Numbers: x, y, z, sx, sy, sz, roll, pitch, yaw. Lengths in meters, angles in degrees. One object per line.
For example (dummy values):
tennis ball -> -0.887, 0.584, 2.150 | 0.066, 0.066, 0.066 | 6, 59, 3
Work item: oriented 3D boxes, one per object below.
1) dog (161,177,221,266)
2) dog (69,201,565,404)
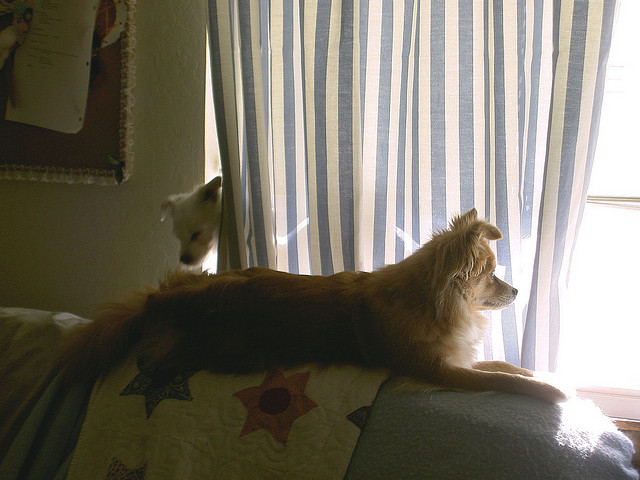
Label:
dog -> -0.429, -0.101, 2.060 | 0.151, 0.202, 0.379 | -12, 31, 16
dog -> -0.032, 0.190, 1.571 | 1.309, 0.583, 0.387 | 0, -3, -4
